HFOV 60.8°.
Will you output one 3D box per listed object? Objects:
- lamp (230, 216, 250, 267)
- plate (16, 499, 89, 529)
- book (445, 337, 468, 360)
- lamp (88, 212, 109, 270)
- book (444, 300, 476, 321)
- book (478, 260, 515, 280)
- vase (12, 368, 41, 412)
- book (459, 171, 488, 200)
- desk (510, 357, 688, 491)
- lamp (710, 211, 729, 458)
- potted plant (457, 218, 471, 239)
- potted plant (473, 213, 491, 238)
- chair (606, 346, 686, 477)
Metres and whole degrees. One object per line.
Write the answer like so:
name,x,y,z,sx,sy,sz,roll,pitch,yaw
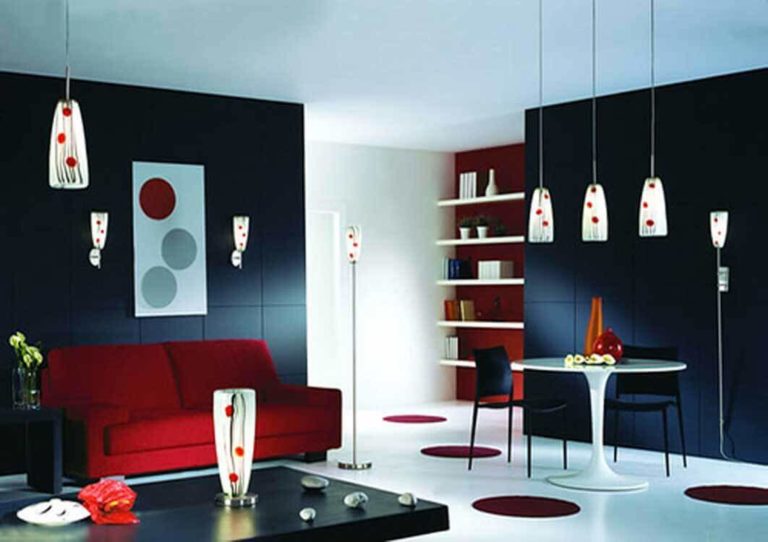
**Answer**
lamp,-1.567,-0.310,7.139,0.216,0.568,0.114,1,-2,-23
plate,-1.337,0.988,2.659,0.150,0.059,0.149,2,1,-38
book,1.076,1.147,10.059,0.283,0.422,0.398,-4,-5,45
lamp,-2.806,-0.298,6.445,0.181,0.547,0.105,1,-2,-27
book,1.156,0.537,9.954,0.284,0.421,0.406,-3,-3,39
book,1.585,0.000,9.437,0.509,0.286,0.302,-1,-2,12
vase,-2.809,0.921,5.138,0.271,0.309,0.191,0,-2,-7
book,1.362,-1.181,9.886,0.349,0.519,0.499,-1,-2,31
desk,1.951,1.276,5.651,1.137,1.024,1.656,-2,-3,36
lamp,3.172,0.627,6.197,0.151,2.342,0.314,-1,-2,27
potted plant,1.138,-0.629,9.845,0.251,0.346,0.257,1,-1,-5
potted plant,1.416,-0.669,9.651,0.279,0.363,0.313,0,0,-7
chair,2.480,1.318,6.155,0.816,1.550,0.847,-5,-17,33
